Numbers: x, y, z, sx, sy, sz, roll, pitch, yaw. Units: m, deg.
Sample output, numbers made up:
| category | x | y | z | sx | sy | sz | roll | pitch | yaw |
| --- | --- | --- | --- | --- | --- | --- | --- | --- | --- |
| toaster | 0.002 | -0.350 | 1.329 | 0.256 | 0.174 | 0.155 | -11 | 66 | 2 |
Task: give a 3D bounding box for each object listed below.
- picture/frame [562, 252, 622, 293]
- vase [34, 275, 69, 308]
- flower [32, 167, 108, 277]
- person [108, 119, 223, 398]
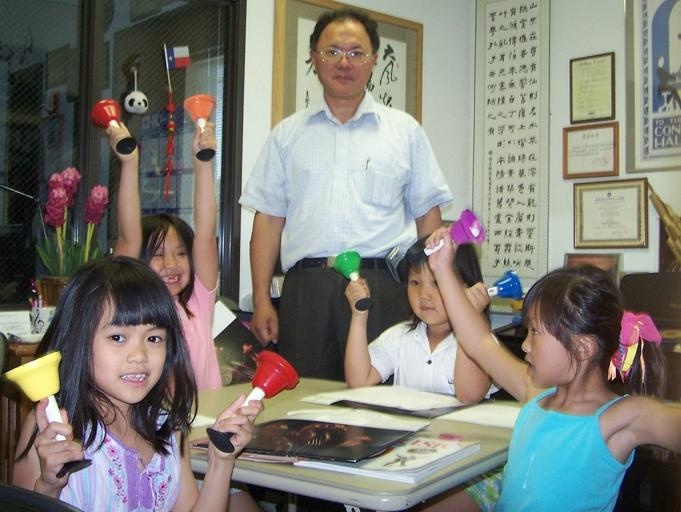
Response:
| category | x | y | z | sx | sy | sz | roll | pitch | yaw |
| --- | --- | --- | --- | --- | --- | --- | --- | --- | --- |
| picture/frame | 0.994 | 0.056 | 2.227 | 0.014 | 0.144 | 0.185 | 37 | -12 | -36 |
| vase | -1.133 | 0.141 | 2.227 | 0.129 | 0.114 | 0.141 | 0 | -5 | 5 |
| flower | -1.264 | -0.148 | 2.707 | 0.277 | 0.561 | 0.275 | 4 | 17 | -32 |
| person | -0.611 | 0.149 | 2.043 | 0.340 | 1.246 | 0.280 | 2 | 13 | -7 |
